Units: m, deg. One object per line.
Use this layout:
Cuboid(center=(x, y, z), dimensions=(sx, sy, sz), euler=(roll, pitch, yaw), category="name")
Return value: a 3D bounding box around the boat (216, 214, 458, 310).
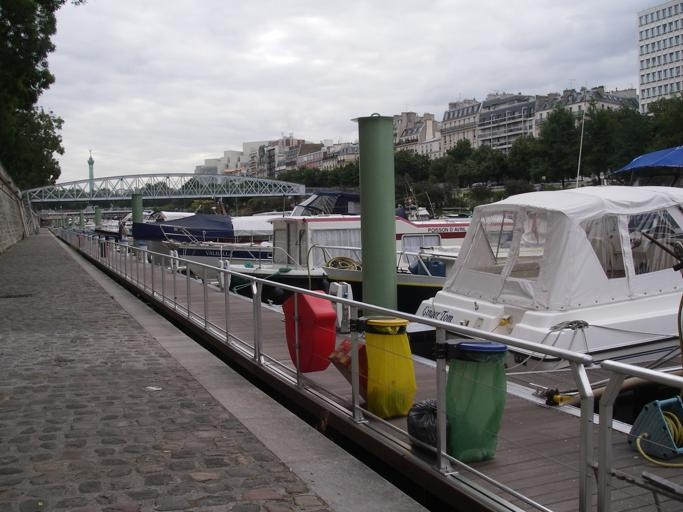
Cuboid(center=(0.083, -0.072, 17.234), dimensions=(5.458, 1.932, 2.941), euler=(-1, 4, 1), category="boat")
